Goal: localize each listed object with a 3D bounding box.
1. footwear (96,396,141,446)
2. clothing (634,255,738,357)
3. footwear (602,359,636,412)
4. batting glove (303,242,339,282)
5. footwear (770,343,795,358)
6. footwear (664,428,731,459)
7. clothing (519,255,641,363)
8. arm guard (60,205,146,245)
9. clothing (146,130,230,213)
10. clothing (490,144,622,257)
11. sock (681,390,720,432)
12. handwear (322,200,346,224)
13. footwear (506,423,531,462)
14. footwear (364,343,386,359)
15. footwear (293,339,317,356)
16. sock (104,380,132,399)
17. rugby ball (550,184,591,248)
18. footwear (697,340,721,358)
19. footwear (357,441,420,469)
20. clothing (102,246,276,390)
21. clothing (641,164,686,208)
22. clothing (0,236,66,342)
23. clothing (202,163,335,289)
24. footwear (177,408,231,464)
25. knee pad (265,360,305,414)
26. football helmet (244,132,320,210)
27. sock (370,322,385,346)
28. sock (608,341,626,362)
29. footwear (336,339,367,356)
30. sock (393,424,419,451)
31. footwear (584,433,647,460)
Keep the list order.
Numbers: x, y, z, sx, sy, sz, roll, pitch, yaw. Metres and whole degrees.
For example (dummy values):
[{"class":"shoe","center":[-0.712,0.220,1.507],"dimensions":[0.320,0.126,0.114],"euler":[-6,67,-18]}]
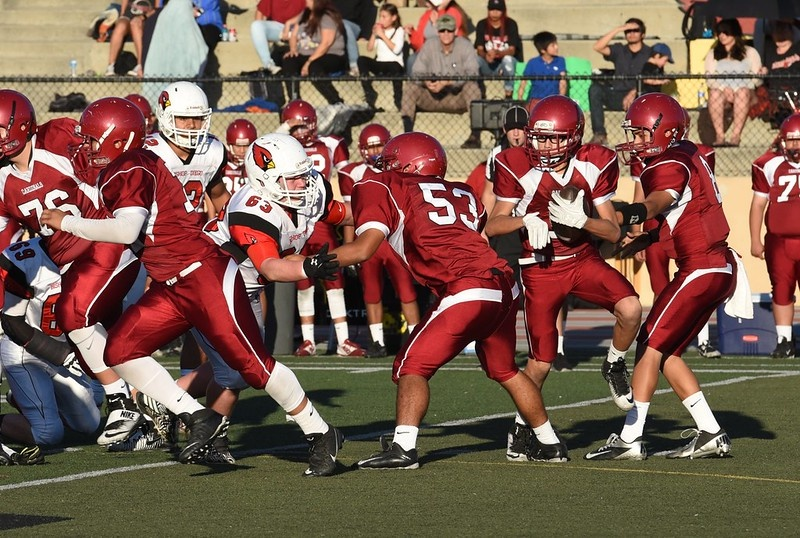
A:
[{"class":"footwear","center":[-1.996,1.088,8.745],"dimensions":[0.321,0.398,0.239],"euler":[-3,8,-18]},{"class":"clothing","center":[2.057,0.248,8.732],"dimensions":[0.819,0.736,0.259],"euler":[-4,9,-27]},{"class":"footwear","center":[1.559,0.831,8.827],"dimensions":[0.154,0.453,0.204],"euler":[-14,-10,-4]},{"class":"batting glove","center":[-0.511,-0.039,7.858],"dimensions":[0.223,0.229,0.193],"euler":[-1,8,-4]},{"class":"footwear","center":[3.923,0.813,12.583],"dimensions":[0.219,0.187,0.239],"euler":[2,8,14]},{"class":"footwear","center":[2.114,1.199,8.681],"dimensions":[0.414,0.202,0.426],"euler":[3,8,19]},{"class":"clothing","center":[1.190,0.186,8.857],"dimensions":[0.782,0.800,0.262],"euler":[-5,-30,-1]},{"class":"arm guard","center":[-1.909,-0.270,8.103],"dimensions":[0.331,0.133,0.338],"euler":[10,9,33]},{"class":"clothing","center":[-1.554,-0.706,8.886],"dimensions":[0.567,0.575,0.322],"euler":[17,17,-42]},{"class":"clothing","center":[1.140,-0.501,9.326],"dimensions":[0.987,0.919,0.544],"euler":[-8,29,-11]},{"class":"sock","center":[2.114,1.027,8.647],"dimensions":[0.186,0.312,0.142],"euler":[-30,-37,4]},{"class":"handwear","center":[-0.467,-0.404,8.520],"dimensions":[0.149,0.123,0.161],"euler":[10,-37,-35]},{"class":"footwear","center":[0.818,1.203,8.544],"dimensions":[0.142,0.253,0.116],"euler":[8,9,8]},{"class":"footwear","center":[-0.254,0.857,13.066],"dimensions":[0.243,0.169,0.154],"euler":[-2,8,-16]},{"class":"footwear","center":[-1.033,0.849,13.272],"dimensions":[0.227,0.189,0.307],"euler":[-1,8,-4]},{"class":"sock","center":[-2.022,0.850,8.828],"dimensions":[0.156,0.116,0.132],"euler":[-19,1,23]},{"class":"rugby ball","center":[1.177,-0.364,8.581],"dimensions":[0.253,0.407,0.314],"euler":[4,-2,-43]},{"class":"footwear","center":[3.196,0.840,12.821],"dimensions":[0.148,0.098,0.222],"euler":[-1,4,-18]},{"class":"footwear","center":[-0.047,1.257,8.260],"dimensions":[0.470,0.208,0.159],"euler":[2,-9,3]},{"class":"clothing","center":[-1.377,0.330,8.155],"dimensions":[1.137,0.863,0.302],"euler":[1,8,8]},{"class":"clothing","center":[1.861,-0.663,8.684],"dimensions":[0.352,0.343,0.274],"euler":[-5,8,8]},{"class":"clothing","center":[-2.705,0.133,9.031],"dimensions":[0.360,0.675,0.520],"euler":[-15,18,19]},{"class":"clothing","center":[-0.906,-0.221,8.155],"dimensions":[0.335,0.732,0.845],"euler":[19,-32,-9]},{"class":"footwear","center":[-1.303,1.098,8.092],"dimensions":[0.315,0.343,0.205],"euler":[-1,8,-9]},{"class":"knee pad","center":[-0.758,0.802,8.106],"dimensions":[0.176,0.296,0.221],"euler":[-36,7,-28]},{"class":"football helmet","center":[-0.796,-0.691,8.247],"dimensions":[0.548,0.430,0.399],"euler":[21,31,21]},{"class":"sock","center":[-0.241,0.686,13.030],"dimensions":[0.106,0.228,0.322],"euler":[-5,9,-6]},{"class":"sock","center":[1.548,0.618,8.863],"dimensions":[0.113,0.138,0.140],"euler":[2,-24,4]},{"class":"footwear","center":[-0.533,0.846,13.206],"dimensions":[0.285,0.146,0.156],"euler":[-1,2,11]},{"class":"sock","center":[0.041,1.125,8.207],"dimensions":[0.195,0.194,0.119],"euler":[12,-2,4]},{"class":"footwear","center":[1.517,1.249,8.598],"dimensions":[0.487,0.212,0.163],"euler":[0,-4,1]}]
